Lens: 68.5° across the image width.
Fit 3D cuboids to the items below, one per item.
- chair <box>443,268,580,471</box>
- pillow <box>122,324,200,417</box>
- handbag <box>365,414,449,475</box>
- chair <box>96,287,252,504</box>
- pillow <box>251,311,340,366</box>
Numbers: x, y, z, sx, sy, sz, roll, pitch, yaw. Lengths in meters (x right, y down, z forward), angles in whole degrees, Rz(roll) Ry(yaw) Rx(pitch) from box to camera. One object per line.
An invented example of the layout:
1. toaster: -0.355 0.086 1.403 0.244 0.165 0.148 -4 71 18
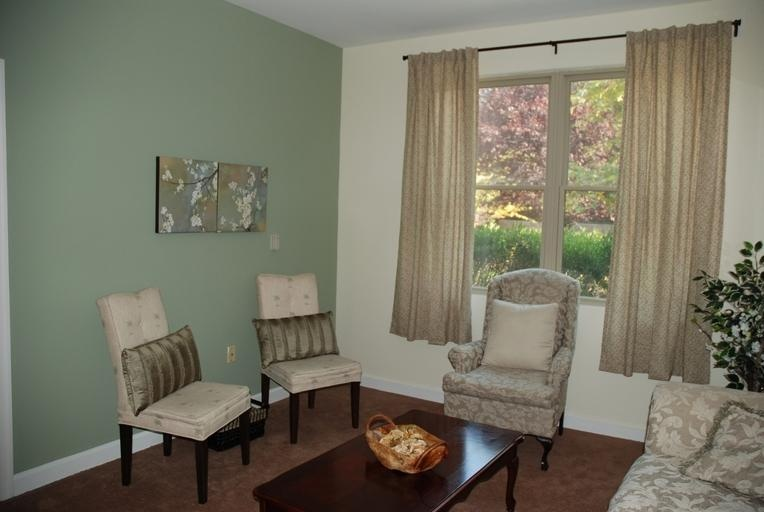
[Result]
1. chair: 1.131 0.844 4.680 0.943 1.318 1.125 4 2 37
2. pillow: -1.555 0.788 4.029 0.227 0.468 0.697 -1 7 19
3. handbag: 0.094 1.082 3.378 0.409 0.175 0.308 11 14 43
4. chair: -1.452 0.924 3.955 0.829 1.321 0.632 6 13 22
5. pillow: -0.738 0.706 4.799 0.481 0.291 0.151 -4 -28 -40
